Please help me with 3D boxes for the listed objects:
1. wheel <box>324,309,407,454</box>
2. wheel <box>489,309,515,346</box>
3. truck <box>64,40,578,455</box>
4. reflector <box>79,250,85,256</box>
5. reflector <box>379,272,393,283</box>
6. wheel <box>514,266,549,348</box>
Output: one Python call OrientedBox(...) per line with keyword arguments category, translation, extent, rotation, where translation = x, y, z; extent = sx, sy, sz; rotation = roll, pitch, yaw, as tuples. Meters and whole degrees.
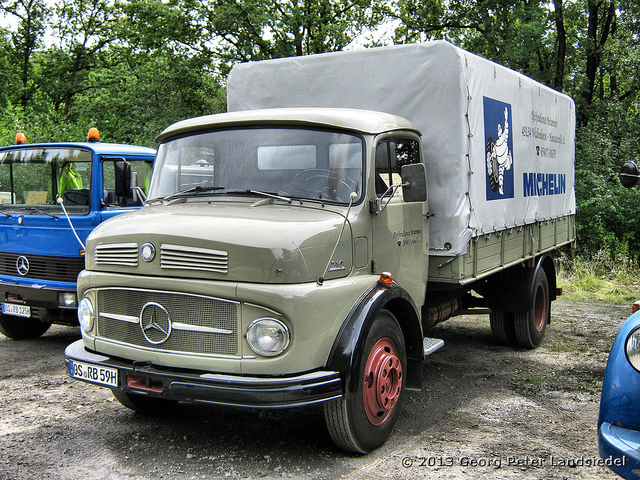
OrientedBox(category="wheel", translation=(0.388, 1.286, 5.181), extent=(0.405, 1.544, 1.242), rotation=(-2, 1, 31))
OrientedBox(category="wheel", translation=(2.804, 1.326, 8.749), extent=(0.216, 0.697, 0.536), rotation=(1, 5, 33))
OrientedBox(category="truck", translation=(0.555, -0.224, 7.842), extent=(3.276, 3.988, 7.148), rotation=(0, 1, 36))
OrientedBox(category="reflector", translation=(-3.269, 0.179, 7.931), extent=(0.088, 0.077, 0.132), rotation=(4, 4, 29))
OrientedBox(category="reflector", translation=(0.633, 0.356, 5.452), extent=(0.110, 0.093, 0.086), rotation=(-1, 2, 19))
OrientedBox(category="wheel", translation=(3.180, 1.008, 8.655), extent=(0.301, 1.285, 1.052), rotation=(-2, -7, 31))
